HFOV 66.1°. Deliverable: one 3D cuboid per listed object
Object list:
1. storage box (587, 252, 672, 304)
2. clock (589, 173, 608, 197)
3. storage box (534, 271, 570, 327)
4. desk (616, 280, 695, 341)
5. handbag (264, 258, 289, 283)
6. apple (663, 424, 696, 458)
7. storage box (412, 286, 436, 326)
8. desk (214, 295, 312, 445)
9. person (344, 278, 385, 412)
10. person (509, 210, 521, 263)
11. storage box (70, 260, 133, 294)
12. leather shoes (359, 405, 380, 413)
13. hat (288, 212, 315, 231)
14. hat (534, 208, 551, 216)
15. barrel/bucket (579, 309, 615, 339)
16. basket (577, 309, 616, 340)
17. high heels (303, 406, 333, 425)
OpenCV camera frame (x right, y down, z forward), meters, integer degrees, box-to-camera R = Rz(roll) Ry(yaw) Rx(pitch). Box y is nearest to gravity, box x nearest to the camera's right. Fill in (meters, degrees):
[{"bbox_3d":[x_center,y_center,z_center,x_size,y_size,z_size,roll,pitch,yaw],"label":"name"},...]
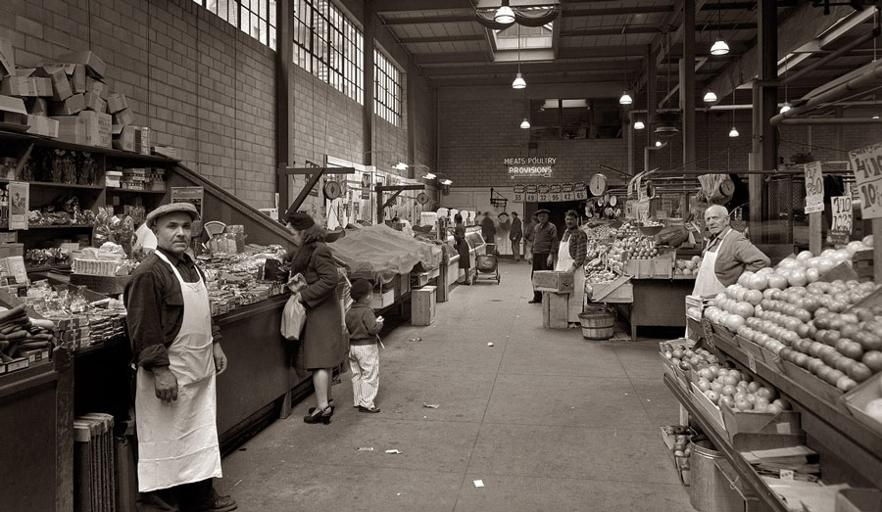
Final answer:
[{"bbox_3d":[3.163,0.350,11.047,1.269,0.834,0.324,0,15,0],"label":"storage box"},{"bbox_3d":[3.875,-1.708,16.665,0.312,0.558,0.775,1,15,4],"label":"clock"},{"bbox_3d":[2.022,0.748,12.139,0.913,0.908,0.356,4,11,22],"label":"storage box"},{"bbox_3d":[3.592,0.771,11.099,0.865,0.754,1.577,-1,2,3],"label":"desk"},{"bbox_3d":[-2.026,0.175,8.306,0.314,0.294,0.247,0,0,-4],"label":"handbag"},{"bbox_3d":[2.496,1.943,7.112,0.199,0.093,0.291,-12,11,10],"label":"apple"},{"bbox_3d":[-0.287,0.922,12.748,0.405,0.636,1.063,-1,0,4],"label":"storage box"},{"bbox_3d":[-2.013,1.238,7.551,0.514,0.989,1.555,-2,7,1],"label":"desk"},{"bbox_3d":[-0.937,1.048,8.306,0.434,1.579,0.763,-2,15,-8],"label":"person"},{"bbox_3d":[2.914,-0.753,25.886,0.463,1.871,1.202,2,15,6],"label":"person"},{"bbox_3d":[-3.445,0.189,6.874,0.609,0.314,0.417,3,1,2],"label":"storage box"},{"bbox_3d":[-0.859,1.845,8.236,0.252,0.106,0.096,-2,-2,3],"label":"leather shoes"},{"bbox_3d":[-1.679,-0.417,8.180,0.249,0.212,0.271,-16,20,-24],"label":"hat"},{"bbox_3d":[2.171,-0.955,14.394,0.413,0.131,0.413,-2,7,-2],"label":"hat"},{"bbox_3d":[2.591,1.106,11.186,0.497,0.296,0.490,-2,0,0],"label":"barrel/bucket"},{"bbox_3d":[2.565,1.114,11.210,0.494,0.309,0.494,-1,1,30],"label":"basket"},{"bbox_3d":[-1.437,1.863,7.974,0.315,0.131,0.173,3,3,9],"label":"high heels"}]
